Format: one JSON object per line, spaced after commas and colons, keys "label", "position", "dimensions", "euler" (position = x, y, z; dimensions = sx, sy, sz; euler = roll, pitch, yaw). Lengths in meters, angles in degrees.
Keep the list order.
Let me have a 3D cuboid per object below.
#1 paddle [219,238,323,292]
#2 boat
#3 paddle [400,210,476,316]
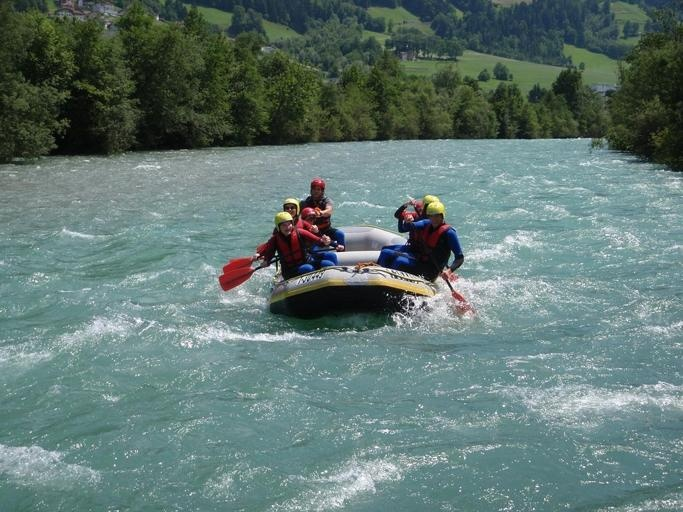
{"label": "paddle", "position": [-1.595, 0.246, 13.741], "dimensions": [1.439, 0.155, 0.443], "euler": [-29, 46, -5]}
{"label": "boat", "position": [0.503, 0.258, 13.939], "dimensions": [3.226, 1.301, 3.975], "euler": [4, 10, 30]}
{"label": "paddle", "position": [2.013, 0.067, 13.543], "dimensions": [1.119, 2.071, 0.993], "euler": [-53, 26, -13]}
